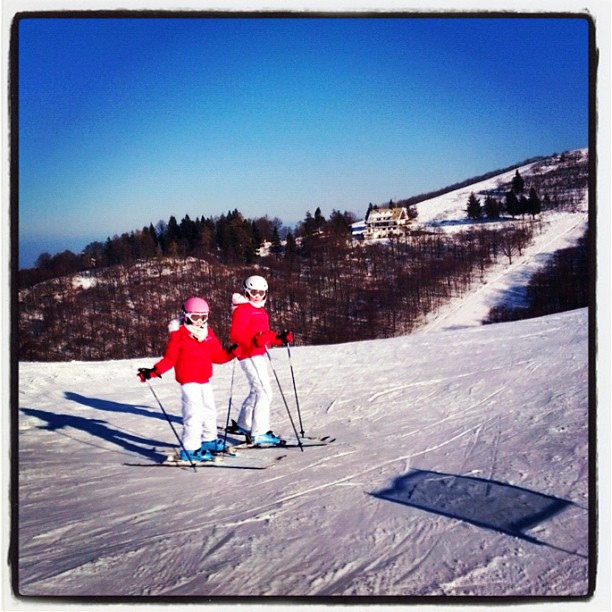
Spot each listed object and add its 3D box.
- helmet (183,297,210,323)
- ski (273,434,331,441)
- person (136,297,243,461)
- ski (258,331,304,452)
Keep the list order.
[{"bbox_3d":[-1.462,0.066,8.289,0.248,0.292,0.317,-6,2,-44],"label":"helmet"},{"bbox_3d":[-0.068,1.935,9.168,0.851,0.037,0.271,-2,7,26],"label":"ski"},{"bbox_3d":[-1.448,0.998,8.336,1.189,2.176,1.143,-4,6,-4],"label":"person"},{"bbox_3d":[-0.418,1.511,10.730,0.080,1.736,0.183,-23,8,22],"label":"ski"}]
